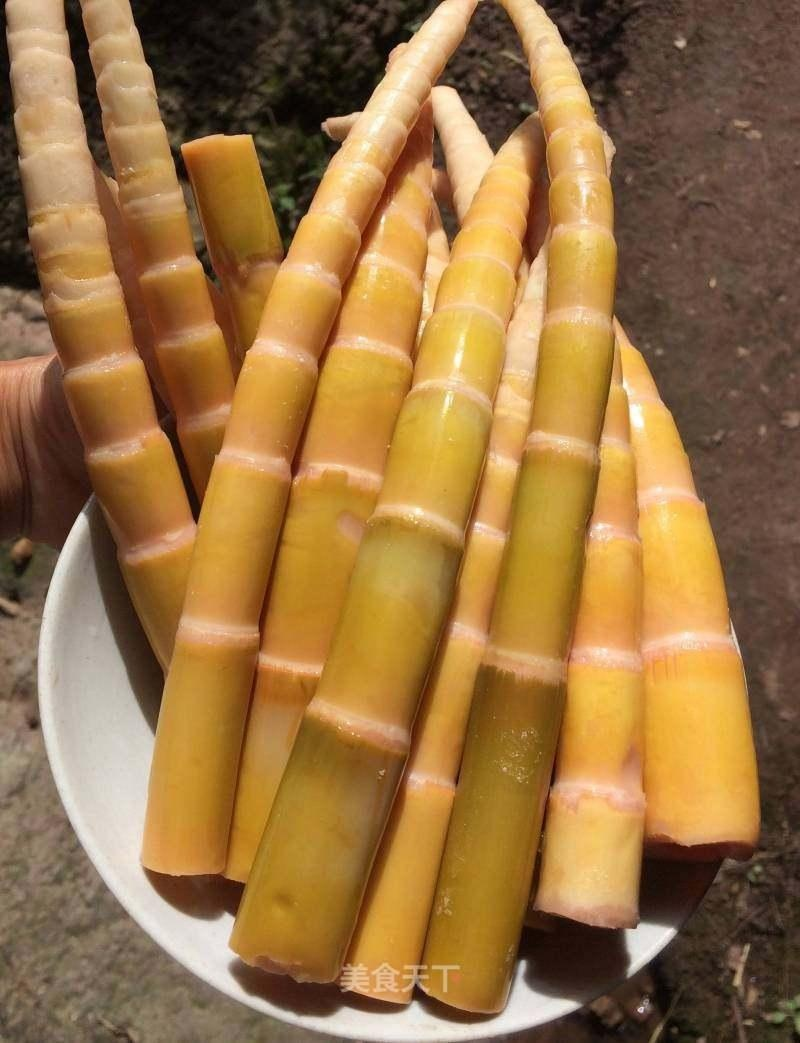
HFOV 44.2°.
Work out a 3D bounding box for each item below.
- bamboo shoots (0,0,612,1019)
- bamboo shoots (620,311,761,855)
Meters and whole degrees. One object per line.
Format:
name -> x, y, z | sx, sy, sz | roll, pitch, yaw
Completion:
bamboo shoots -> -0.032, 0.002, 0.737 | 0.481, 0.239, 0.776 | 0, 79, -12
bamboo shoots -> 0.219, 0.047, 0.851 | 0.093, 0.087, 0.445 | -12, 66, 22
